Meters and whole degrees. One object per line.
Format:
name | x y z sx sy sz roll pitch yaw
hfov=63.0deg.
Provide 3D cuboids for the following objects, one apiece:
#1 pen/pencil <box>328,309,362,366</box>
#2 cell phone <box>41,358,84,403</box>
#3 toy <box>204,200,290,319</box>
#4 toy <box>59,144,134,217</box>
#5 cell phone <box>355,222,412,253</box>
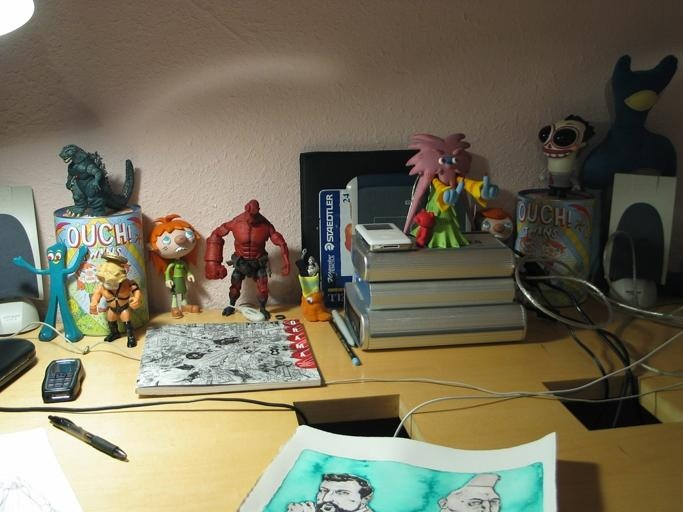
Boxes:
pen/pencil | 0.006 0.165 1.127 0.024 0.025 0.218 7 17 -16
cell phone | -0.491 0.217 0.972 0.048 0.025 0.083 -1 26 -12
toy | -0.217 0.001 1.229 0.241 0.337 0.112 0 25 -8
toy | -0.456 -0.149 1.127 0.177 0.140 0.100 3 -1 -42
cell phone | 0.087 -0.039 1.138 0.109 0.050 0.134 -6 7 -4
